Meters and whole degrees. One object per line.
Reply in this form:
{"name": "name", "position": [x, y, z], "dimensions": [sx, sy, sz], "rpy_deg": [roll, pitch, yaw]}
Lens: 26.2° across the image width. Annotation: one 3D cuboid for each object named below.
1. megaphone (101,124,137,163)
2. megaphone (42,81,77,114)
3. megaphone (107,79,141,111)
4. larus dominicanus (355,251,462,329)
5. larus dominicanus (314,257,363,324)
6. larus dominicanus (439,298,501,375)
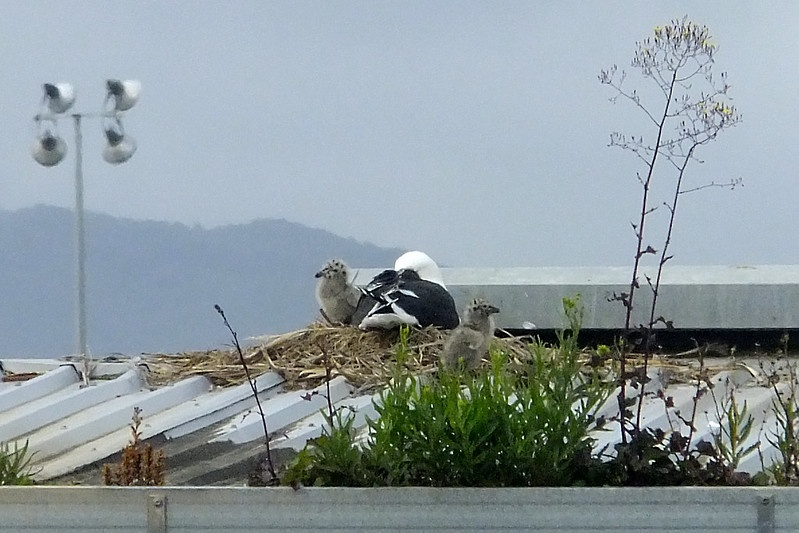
{"name": "megaphone", "position": [-2.079, -0.859, 12.566], "dimensions": [0.229, 0.297, 0.250], "rpy_deg": [-1, -6, 9]}
{"name": "megaphone", "position": [-2.470, -1.202, 12.445], "dimensions": [0.231, 0.230, 0.196], "rpy_deg": [1, -6, -12]}
{"name": "megaphone", "position": [-2.001, -1.218, 12.376], "dimensions": [0.240, 0.321, 0.553], "rpy_deg": [1, -6, -10]}
{"name": "larus dominicanus", "position": [0.073, 0.177, 11.566], "dimensions": [0.447, 0.454, 0.641], "rpy_deg": [2, -2, 36]}
{"name": "larus dominicanus", "position": [-0.438, 0.189, 12.157], "dimensions": [0.328, 0.528, 0.337], "rpy_deg": [0, 19, 6]}
{"name": "larus dominicanus", "position": [0.460, 0.437, 11.035], "dimensions": [0.441, 0.530, 0.348], "rpy_deg": [-5, -3, -11]}
